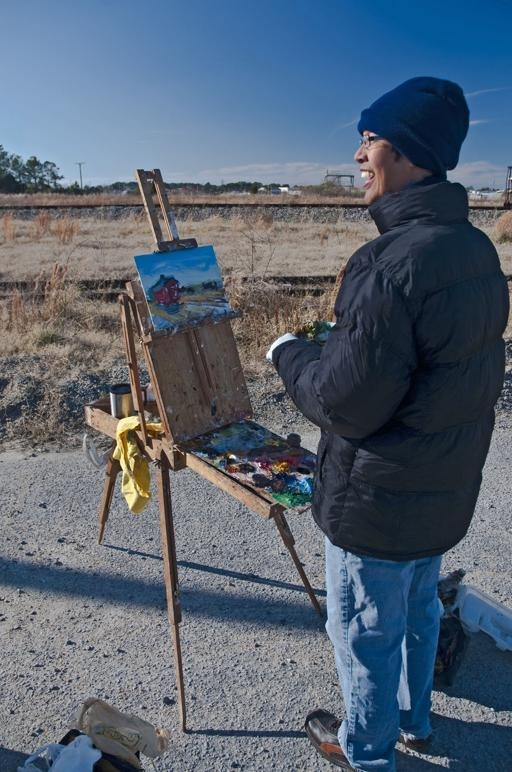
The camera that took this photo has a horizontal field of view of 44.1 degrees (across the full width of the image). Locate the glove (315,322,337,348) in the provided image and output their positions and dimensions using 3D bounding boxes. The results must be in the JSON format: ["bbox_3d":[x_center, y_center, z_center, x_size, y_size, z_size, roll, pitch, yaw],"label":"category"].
[{"bbox_3d":[0.264,-0.199,2.408,0.087,0.112,0.048,13,-9,-17],"label":"glove"}]

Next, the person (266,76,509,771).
[{"bbox_3d":[0.462,0.241,1.894,0.682,2.158,0.445,-10,17,1],"label":"person"}]

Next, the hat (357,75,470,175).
[{"bbox_3d":[0.458,-0.740,1.815,0.319,0.279,0.247,17,19,15],"label":"hat"}]

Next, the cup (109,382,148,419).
[{"bbox_3d":[-0.640,0.080,3.189,0.187,0.197,0.111,16,22,31],"label":"cup"}]
